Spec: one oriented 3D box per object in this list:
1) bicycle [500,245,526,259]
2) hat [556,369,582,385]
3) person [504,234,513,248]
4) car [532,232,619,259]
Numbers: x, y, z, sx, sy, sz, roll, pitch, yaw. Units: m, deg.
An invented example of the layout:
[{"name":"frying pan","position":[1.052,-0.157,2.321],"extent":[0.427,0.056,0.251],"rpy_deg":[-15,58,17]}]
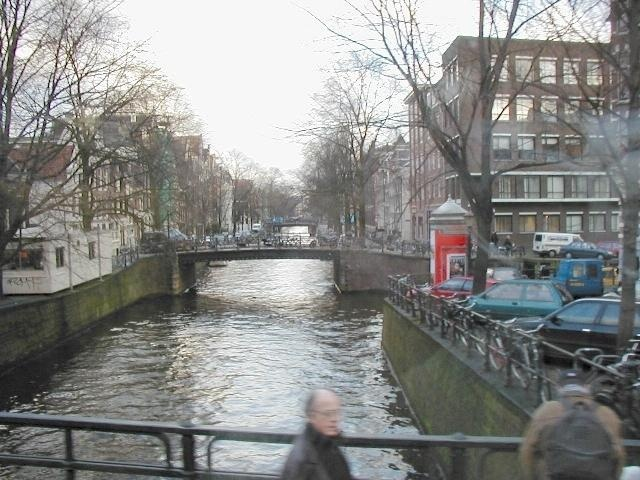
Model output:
[{"name":"bicycle","position":[12.329,0.816,43.658],"extent":[1.833,1.208,0.987],"rpy_deg":[-1,2,-6]},{"name":"hat","position":[3.089,1.704,8.500],"extent":[0.218,0.136,0.322],"rpy_deg":[-2,-3,8]},{"name":"person","position":[12.486,0.091,45.629],"extent":[0.241,0.852,0.501],"rpy_deg":[-7,-13,40]},{"name":"car","position":[15.519,0.493,43.379],"extent":[3.213,1.277,1.764],"rpy_deg":[0,3,18]}]
